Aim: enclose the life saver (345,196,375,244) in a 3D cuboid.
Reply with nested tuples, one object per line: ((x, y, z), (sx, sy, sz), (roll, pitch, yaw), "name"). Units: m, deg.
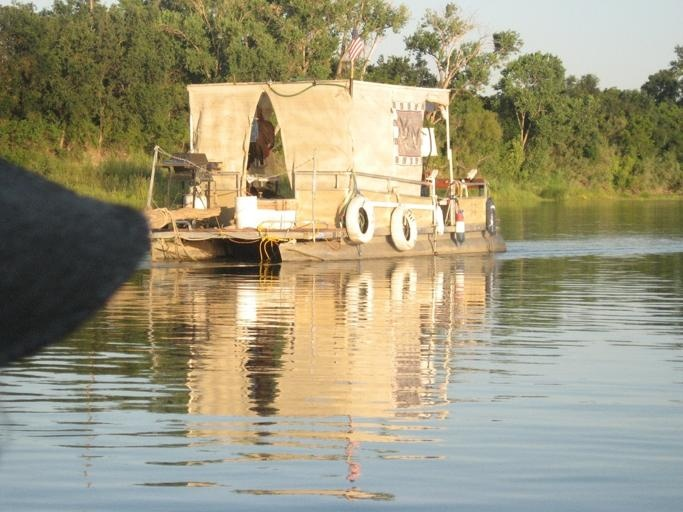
((0.388, -0.672, 26.845), (0.284, 0.821, 0.831), (-6, 35, 24), "life saver")

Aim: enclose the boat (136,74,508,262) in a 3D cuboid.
((-0.177, -1.844, 28.679), (4.058, 3.000, 6.567), (-1, -2, 40), "boat")
